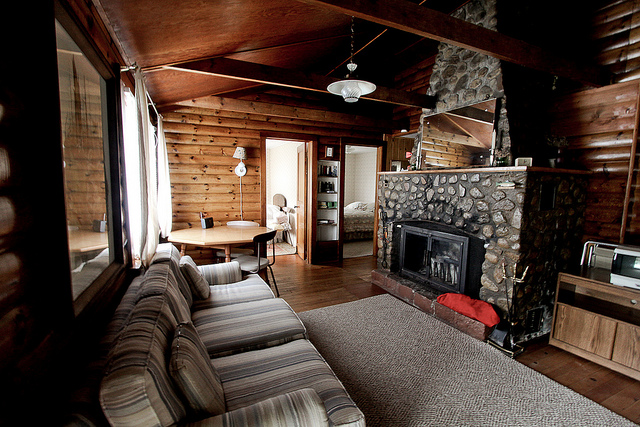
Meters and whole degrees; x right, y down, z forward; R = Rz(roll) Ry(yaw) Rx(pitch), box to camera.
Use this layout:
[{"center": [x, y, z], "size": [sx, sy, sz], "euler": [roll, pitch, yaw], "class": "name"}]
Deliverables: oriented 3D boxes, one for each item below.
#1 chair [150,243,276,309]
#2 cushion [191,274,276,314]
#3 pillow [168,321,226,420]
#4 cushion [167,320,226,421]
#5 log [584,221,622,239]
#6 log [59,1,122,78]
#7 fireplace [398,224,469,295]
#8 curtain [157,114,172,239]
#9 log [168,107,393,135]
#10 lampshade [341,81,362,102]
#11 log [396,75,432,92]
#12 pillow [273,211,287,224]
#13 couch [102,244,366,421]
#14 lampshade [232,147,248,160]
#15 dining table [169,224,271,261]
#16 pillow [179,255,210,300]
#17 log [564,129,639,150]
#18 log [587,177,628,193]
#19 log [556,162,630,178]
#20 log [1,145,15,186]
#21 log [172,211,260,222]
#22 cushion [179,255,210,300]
[{"center": [-1.129, 0.720, 4.099], "size": [0.904, 0.596, 0.856], "euler": [-2, 8, -28], "class": "chair"}, {"center": [-1.034, 0.881, 4.285], "size": [0.983, 0.238, 0.875], "euler": [2, -8, -13], "class": "cushion"}, {"center": [-0.861, 1.106, 2.648], "size": [0.258, 0.378, 0.431], "euler": [-9, 32, -17], "class": "pillow"}, {"center": [-0.824, 1.090, 2.625], "size": [0.161, 0.497, 0.495], "euler": [-20, 21, -6], "class": "cushion"}, {"center": [3.291, 0.188, 4.465], "size": [0.068, 0.163, 0.315], "euler": [-18, 3, -21], "class": "log"}, {"center": [-1.772, -1.354, 2.979], "size": [0.111, 0.424, 0.834], "euler": [-4, 7, -13], "class": "log"}, {"center": [1.561, 0.579, 5.097], "size": [0.431, 0.785, 1.035], "euler": [-8, 14, -34], "class": "fireplace"}, {"center": [-2.127, -0.491, 5.184], "size": [0.190, 1.625, 0.451], "euler": [-4, 3, -28], "class": "curtain"}, {"center": [-0.971, -1.410, 6.054], "size": [3.110, 0.186, 0.158], "euler": [10, 31, 11], "class": "log"}, {"center": [0.320, -1.253, 3.950], "size": [0.165, 0.177, 0.153], "euler": [-4, 11, -8], "class": "lampshade"}, {"center": [1.561, -2.114, 6.336], "size": [0.057, 0.150, 0.708], "euler": [-6, 8, -26], "class": "log"}, {"center": [-0.844, 0.098, 8.104], "size": [0.256, 0.081, 0.265], "euler": [-3, 13, 4], "class": "pillow"}, {"center": [-0.813, 0.523, 2.900], "size": [1.177, 0.848, 2.177], "euler": [-3, 9, -23], "class": "couch"}, {"center": [-1.237, -0.922, 5.951], "size": [0.185, 0.161, 0.178], "euler": [6, 12, 20], "class": "lampshade"}, {"center": [-1.278, 0.463, 5.199], "size": [1.016, 0.224, 1.105], "euler": [-6, -7, 13], "class": "dining table"}, {"center": [-1.292, 0.625, 3.857], "size": [0.118, 0.360, 0.377], "euler": [-30, -27, 0], "class": "pillow"}, {"center": [3.209, -0.847, 4.442], "size": [0.633, 0.188, 0.137], "euler": [4, 9, 40], "class": "log"}, {"center": [3.304, -0.326, 4.412], "size": [0.086, 0.167, 0.355], "euler": [-9, 3, -40], "class": "log"}, {"center": [3.280, -0.495, 4.431], "size": [0.444, 0.167, 0.060], "euler": [5, 10, 44], "class": "log"}, {"center": [-1.726, -0.267, 2.105], "size": [0.030, 0.216, 0.073], "euler": [2, 9, 21], "class": "log"}, {"center": [-1.620, 0.047, 6.045], "size": [1.338, 0.187, 0.025], "euler": [-4, 9, -22], "class": "log"}, {"center": [-1.189, 0.647, 3.883], "size": [0.134, 0.362, 0.372], "euler": [-22, 15, 3], "class": "cushion"}]
